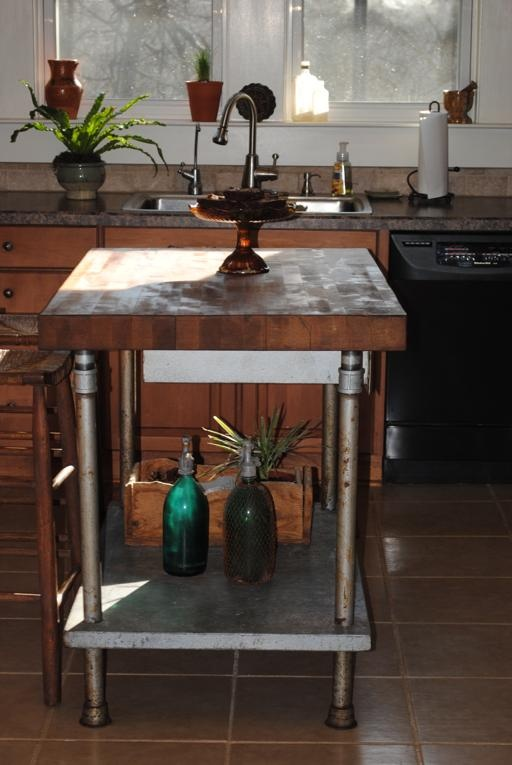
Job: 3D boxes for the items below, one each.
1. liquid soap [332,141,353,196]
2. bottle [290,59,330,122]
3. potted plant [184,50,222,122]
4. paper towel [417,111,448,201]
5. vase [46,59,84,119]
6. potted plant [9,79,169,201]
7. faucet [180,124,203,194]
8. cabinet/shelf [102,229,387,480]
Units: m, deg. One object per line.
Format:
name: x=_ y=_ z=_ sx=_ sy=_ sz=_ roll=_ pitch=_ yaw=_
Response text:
liquid soap: x=0.360 y=-0.891 z=3.000 sx=0.079 sy=0.235 sz=0.222 roll=3 pitch=10 yaw=5
bottle: x=0.243 y=-1.277 z=3.193 sx=0.154 sy=0.254 sz=0.131 roll=2 pitch=10 yaw=2
potted plant: x=-0.218 y=-1.239 z=3.032 sx=0.145 sy=0.295 sz=0.204 roll=1 pitch=10 yaw=-3
paper towel: x=0.717 y=-0.918 z=2.920 sx=0.126 sy=0.332 sz=0.192 roll=5 pitch=11 yaw=14
vase: x=-0.820 y=-1.244 z=3.055 sx=0.150 sy=0.224 sz=0.153 roll=16 pitch=26 yaw=23
potted plant: x=-0.711 y=-0.968 z=2.926 sx=0.618 sy=0.484 sz=0.644 roll=3 pitch=10 yaw=3
faucet: x=-0.276 y=-0.940 z=3.030 sx=0.099 sy=0.312 sz=0.266 roll=1 pitch=10 yaw=-5
cabinet/shelf: x=0.014 y=-0.034 z=2.960 sx=1.357 sy=0.854 sz=0.721 roll=1 pitch=30 yaw=2
